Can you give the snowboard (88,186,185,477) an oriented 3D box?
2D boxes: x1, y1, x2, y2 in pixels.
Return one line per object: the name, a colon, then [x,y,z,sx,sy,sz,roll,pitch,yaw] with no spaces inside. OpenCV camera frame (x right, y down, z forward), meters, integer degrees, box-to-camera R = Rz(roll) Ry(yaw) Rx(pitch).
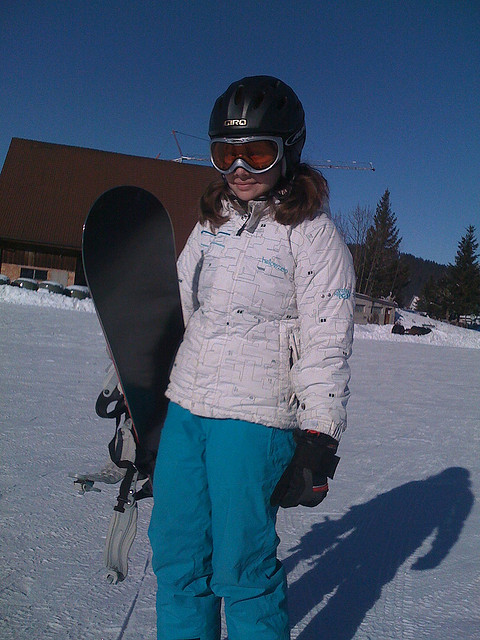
snowboard: [-0.352,-0.016,1.731,0.274,0.997,0.176,-4,-19,-18]
